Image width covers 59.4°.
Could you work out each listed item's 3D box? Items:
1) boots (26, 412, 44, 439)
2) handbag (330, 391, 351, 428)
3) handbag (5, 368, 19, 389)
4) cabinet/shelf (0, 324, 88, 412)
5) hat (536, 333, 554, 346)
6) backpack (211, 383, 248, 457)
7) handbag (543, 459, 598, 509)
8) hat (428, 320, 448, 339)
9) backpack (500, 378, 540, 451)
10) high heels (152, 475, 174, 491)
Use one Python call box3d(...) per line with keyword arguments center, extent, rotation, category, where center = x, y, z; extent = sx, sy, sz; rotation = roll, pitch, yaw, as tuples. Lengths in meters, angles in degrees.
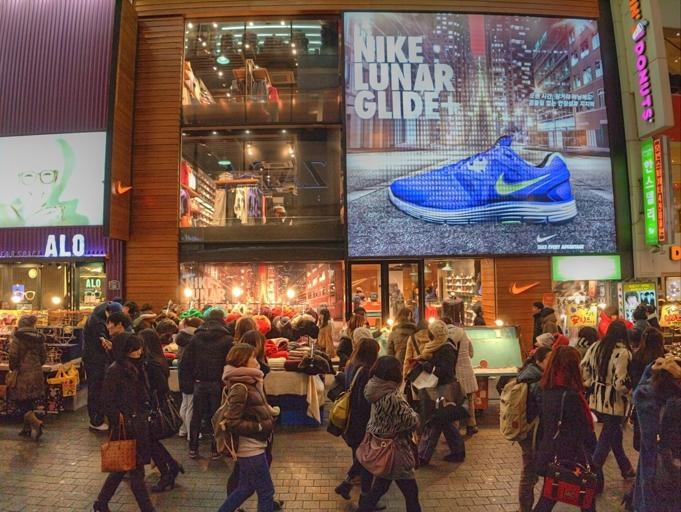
box3d(center=(-5.693, 3.094, 11.132), extent=(0.281, 0.485, 0.748), rotation=(0, -3, -26), category="boots")
box3d(center=(0.007, 2.317, 8.978), extent=(0.192, 0.417, 0.382), rotation=(19, -17, 5), category="handbag")
box3d(center=(-6.063, 2.237, 10.997), extent=(0.246, 0.339, 0.137), rotation=(3, 0, -29), category="handbag")
box3d(center=(-6.233, 2.366, 12.570), extent=(1.461, 1.665, 2.353), rotation=(-1, 0, -11), category="cabinet/shelf")
box3d(center=(3.264, 1.376, 9.560), extent=(0.233, 0.132, 0.311), rotation=(-16, -3, -3), category="hat")
box3d(center=(-1.591, 2.310, 8.432), extent=(0.502, 1.038, 0.314), rotation=(-4, -4, 39), category="backpack")
box3d(center=(3.250, 3.188, 8.433), extent=(0.647, 0.620, 0.291), rotation=(9, 3, 10), category="handbag")
box3d(center=(1.642, 1.229, 9.995), extent=(0.238, 0.286, 0.324), rotation=(3, 9, 2), category="hat")
box3d(center=(2.676, 2.308, 8.946), extent=(0.522, 0.913, 0.162), rotation=(-2, -3, 18), category="backpack")
box3d(center=(-2.838, 3.627, 9.550), extent=(0.320, 0.191, 0.177), rotation=(5, -6, -12), category="high heels")
